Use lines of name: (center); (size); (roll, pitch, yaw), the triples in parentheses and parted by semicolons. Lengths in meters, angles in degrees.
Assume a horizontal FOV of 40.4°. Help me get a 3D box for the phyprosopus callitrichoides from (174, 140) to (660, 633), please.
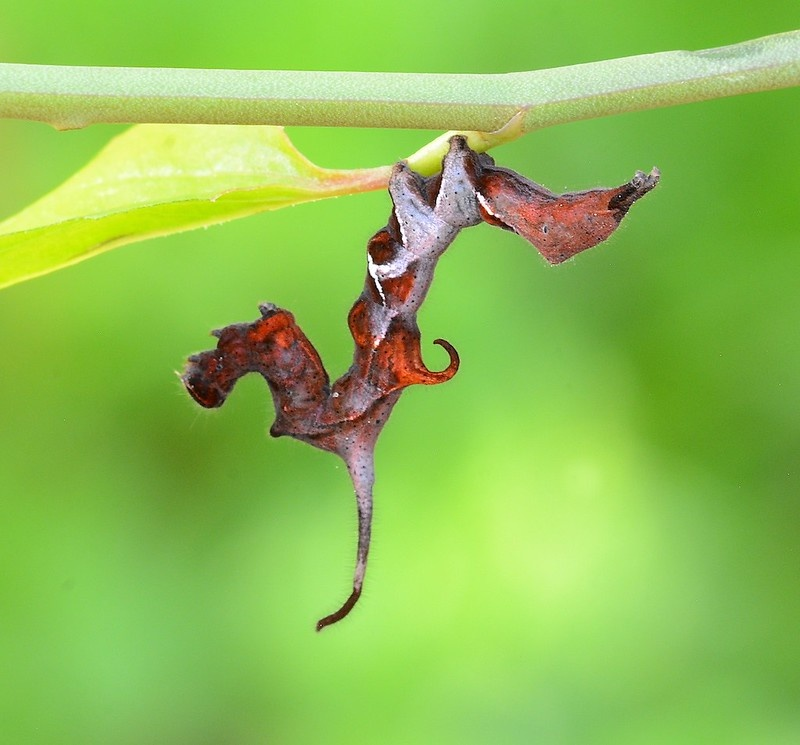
phyprosopus callitrichoides: (-0.051, -0.021, 1.130); (0.297, 0.215, 0.516); (28, -76, -6)
